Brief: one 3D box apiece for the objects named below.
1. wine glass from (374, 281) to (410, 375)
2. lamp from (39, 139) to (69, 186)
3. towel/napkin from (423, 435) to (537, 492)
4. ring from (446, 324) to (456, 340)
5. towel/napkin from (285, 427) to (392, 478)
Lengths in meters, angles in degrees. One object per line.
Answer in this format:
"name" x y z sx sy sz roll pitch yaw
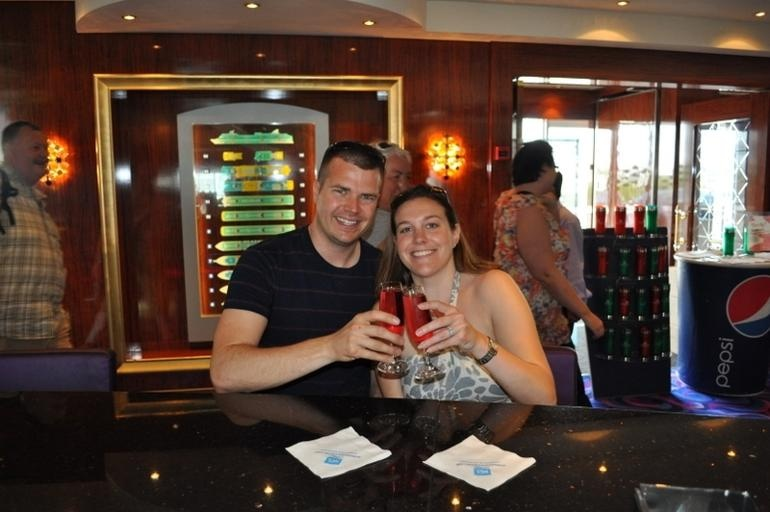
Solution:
"wine glass" 0.037 0.365 2.875 0.139 0.478 0.245 0 3 -1
"lamp" -3.014 -0.849 5.515 0.337 0.380 0.137 2 2 -6
"towel/napkin" 0.388 0.853 2.473 0.400 0.137 0.204 1 3 25
"ring" 0.306 0.353 2.804 0.044 0.040 0.011 1 -1 44
"towel/napkin" -0.192 0.826 2.510 0.203 0.022 0.216 -10 18 -32
